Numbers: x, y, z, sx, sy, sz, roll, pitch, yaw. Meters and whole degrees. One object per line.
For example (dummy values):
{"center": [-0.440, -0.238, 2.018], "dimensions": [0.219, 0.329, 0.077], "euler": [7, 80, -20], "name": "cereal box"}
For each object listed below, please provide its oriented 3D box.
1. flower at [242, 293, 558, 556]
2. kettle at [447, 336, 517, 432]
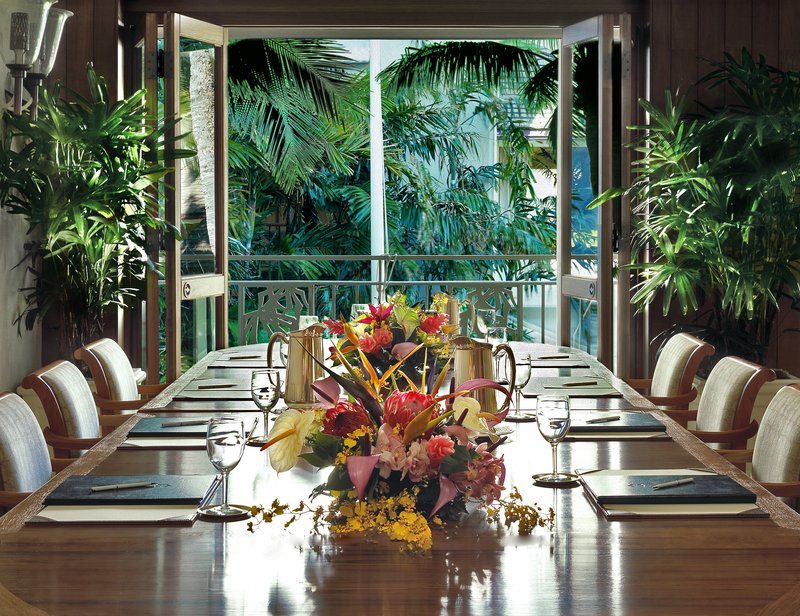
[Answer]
{"center": [-0.043, 0.219, 1.623], "dimensions": [0.526, 0.365, 0.470], "euler": [1, 0, 34], "name": "flower"}
{"center": [0.189, 0.173, 1.916], "dimensions": [0.202, 0.229, 0.140], "euler": [3, -6, -7], "name": "kettle"}
